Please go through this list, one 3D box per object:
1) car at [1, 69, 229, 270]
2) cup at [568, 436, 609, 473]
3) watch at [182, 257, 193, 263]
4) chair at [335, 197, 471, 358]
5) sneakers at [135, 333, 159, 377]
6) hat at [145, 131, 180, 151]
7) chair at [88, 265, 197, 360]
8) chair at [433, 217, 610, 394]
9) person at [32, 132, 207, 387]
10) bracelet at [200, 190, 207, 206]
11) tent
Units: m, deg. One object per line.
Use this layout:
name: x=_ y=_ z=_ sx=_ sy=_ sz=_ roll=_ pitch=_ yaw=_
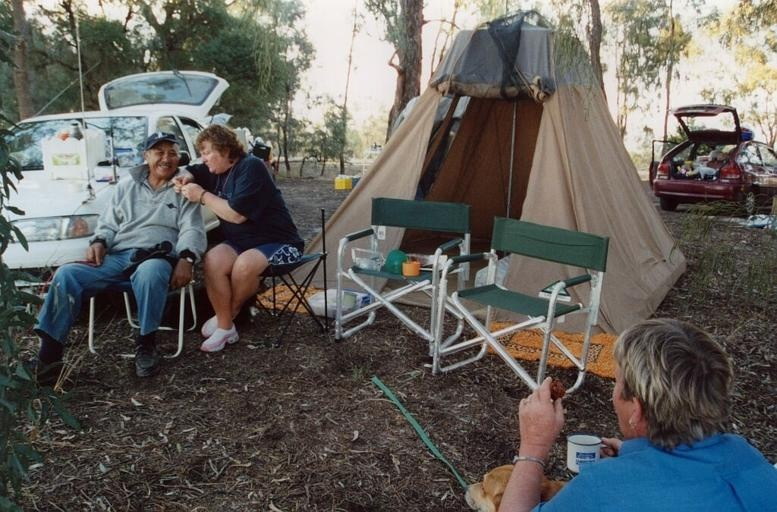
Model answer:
car: x=-3.214 y=-1.138 z=6.536 sx=1.946 sy=1.719 sz=2.881 roll=4 pitch=12 yaw=16
cup: x=1.051 y=1.043 z=3.195 sx=0.179 sy=0.191 sz=0.289 roll=-7 pitch=-11 yaw=32
watch: x=-1.674 y=0.028 z=4.942 sx=0.040 sy=0.061 sz=0.061 roll=6 pitch=-5 yaw=16
chair: x=0.093 y=0.212 z=5.471 sx=1.267 sy=1.643 sz=1.059 roll=5 pitch=8 yaw=27
sneakers: x=-1.934 y=0.781 z=4.733 sx=0.179 sy=0.320 sz=0.183 roll=-3 pitch=9 yaw=-22
hat: x=-2.023 y=-0.989 z=5.223 sx=0.310 sy=0.217 sz=0.490 roll=-6 pitch=9 yaw=-24
chair: x=-2.091 y=0.494 z=5.305 sx=0.718 sy=0.621 sz=0.939 roll=1 pitch=-2 yaw=-1
chair: x=1.151 y=0.435 z=4.962 sx=1.204 sy=1.466 sz=0.952 roll=12 pitch=7 yaw=41
person: x=-2.163 y=-0.070 z=4.957 sx=1.204 sy=1.921 sz=0.984 roll=-3 pitch=9 yaw=-20
bracelet: x=-1.611 y=-0.508 z=5.120 sx=0.025 sy=0.101 sz=0.091 roll=5 pitch=1 yaw=-20
tent: x=1.722 y=-1.175 z=6.910 sx=3.718 sy=2.899 sz=3.427 roll=7 pitch=13 yaw=26
